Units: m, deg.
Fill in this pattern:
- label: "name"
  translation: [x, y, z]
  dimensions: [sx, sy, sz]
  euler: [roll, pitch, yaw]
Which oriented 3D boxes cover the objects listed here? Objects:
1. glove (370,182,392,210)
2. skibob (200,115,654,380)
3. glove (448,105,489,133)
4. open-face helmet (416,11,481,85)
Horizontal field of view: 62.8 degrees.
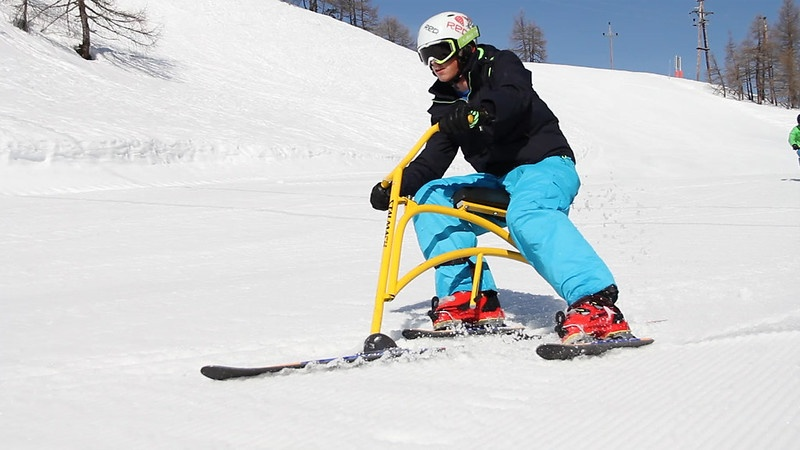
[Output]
- label: "glove"
  translation: [-0.189, -0.280, 6.039]
  dimensions: [0.155, 0.221, 0.304]
  euler: [18, 45, -6]
- label: "skibob"
  translation: [-0.352, 0.338, 5.757]
  dimensions: [3.069, 1.600, 1.488]
  euler: [-14, -10, 21]
- label: "glove"
  translation: [0.574, -0.914, 5.531]
  dimensions: [0.332, 0.139, 0.231]
  euler: [-7, 27, -4]
- label: "open-face helmet"
  translation: [0.437, -1.650, 6.004]
  dimensions: [0.618, 0.557, 0.517]
  euler: [-14, 19, -25]
